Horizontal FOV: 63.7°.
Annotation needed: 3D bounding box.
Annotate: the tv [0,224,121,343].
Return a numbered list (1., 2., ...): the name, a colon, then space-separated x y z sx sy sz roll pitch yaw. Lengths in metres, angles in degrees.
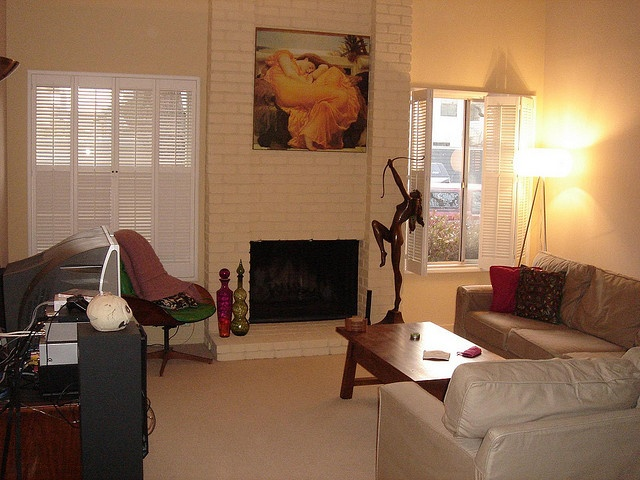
1. tv: -1.587 0.124 3.191 0.579 0.686 0.849 1 6 -18

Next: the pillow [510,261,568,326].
1. pillow: 1.993 0.498 4.656 0.151 0.447 0.460 14 -7 -40

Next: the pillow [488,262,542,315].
1. pillow: 1.827 0.471 4.799 0.420 0.460 0.175 3 -5 17

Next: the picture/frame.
1. picture/frame: -0.136 -1.535 5.160 1.279 1.256 0.084 1 12 -14

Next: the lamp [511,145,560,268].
1. lamp: 2.443 -0.364 5.776 0.501 1.308 0.665 11 16 33

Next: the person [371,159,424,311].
1. person: 0.807 -0.070 5.335 0.528 1.545 0.604 5 14 13
